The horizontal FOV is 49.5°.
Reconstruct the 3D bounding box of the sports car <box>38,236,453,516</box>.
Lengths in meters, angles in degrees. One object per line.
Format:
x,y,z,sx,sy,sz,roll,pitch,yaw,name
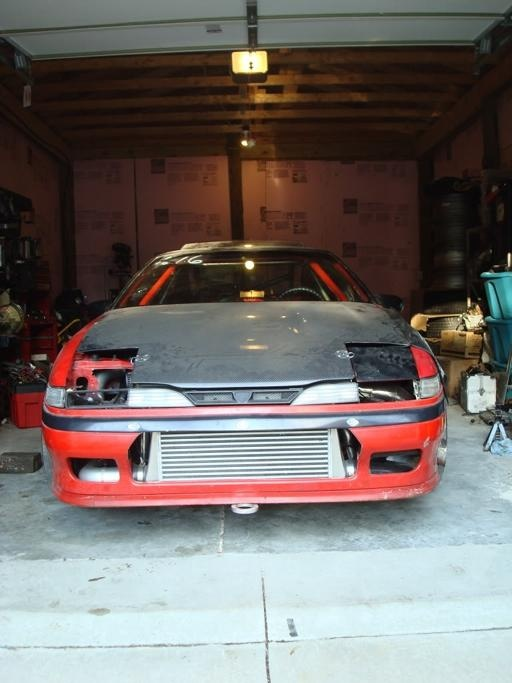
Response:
-0.011,-0.060,2.683,1.443,0.822,2.173,-1,10,4,sports car

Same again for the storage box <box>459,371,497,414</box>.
1.662,0.394,4.172,0.240,0.283,0.232,0,4,18,storage box

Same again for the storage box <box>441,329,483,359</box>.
2.043,0.024,5.527,0.261,0.200,0.440,2,1,-2,storage box

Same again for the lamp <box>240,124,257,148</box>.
-0.111,-3.098,8.315,0.281,0.489,0.185,-11,-45,14,lamp
